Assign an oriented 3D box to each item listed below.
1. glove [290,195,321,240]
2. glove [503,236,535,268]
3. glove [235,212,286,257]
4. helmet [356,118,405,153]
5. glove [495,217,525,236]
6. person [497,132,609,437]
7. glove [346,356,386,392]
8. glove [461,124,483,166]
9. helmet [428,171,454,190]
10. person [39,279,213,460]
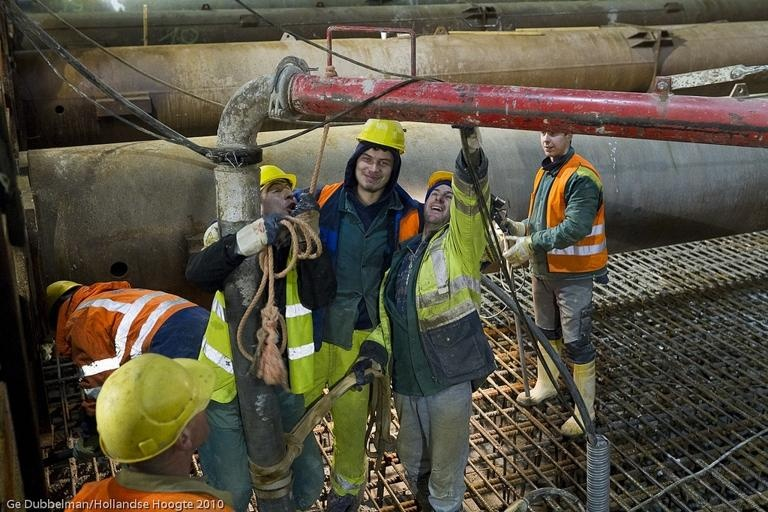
[{"bbox_3d":[-0.520,-0.263,4.351,0.205,0.277,0.113,1,-12,-9],"label":"glove"},{"bbox_3d":[1.379,-0.055,6.507,0.352,0.255,0.186,-16,-27,39],"label":"glove"},{"bbox_3d":[-0.801,-0.130,4.192,0.329,0.190,0.119,-37,-4,2],"label":"glove"},{"bbox_3d":[-0.025,-0.938,5.019,0.356,0.268,0.271,-3,13,-2],"label":"helmet"},{"bbox_3d":[1.345,-0.297,6.721,0.311,0.156,0.131,10,18,-6],"label":"glove"},{"bbox_3d":[1.783,0.245,6.492,1.038,2.934,1.168,-5,13,-8],"label":"person"},{"bbox_3d":[-0.105,0.863,4.863,0.350,0.193,0.144,-12,16,-36],"label":"glove"},{"bbox_3d":[0.539,-0.731,4.219,0.191,0.252,0.099,-15,21,-42],"label":"glove"},{"bbox_3d":[0.454,-0.608,5.279,0.159,0.097,0.220,14,-24,5],"label":"helmet"},{"bbox_3d":[-2.184,0.658,5.387,2.058,0.627,0.893,31,32,17],"label":"person"}]
